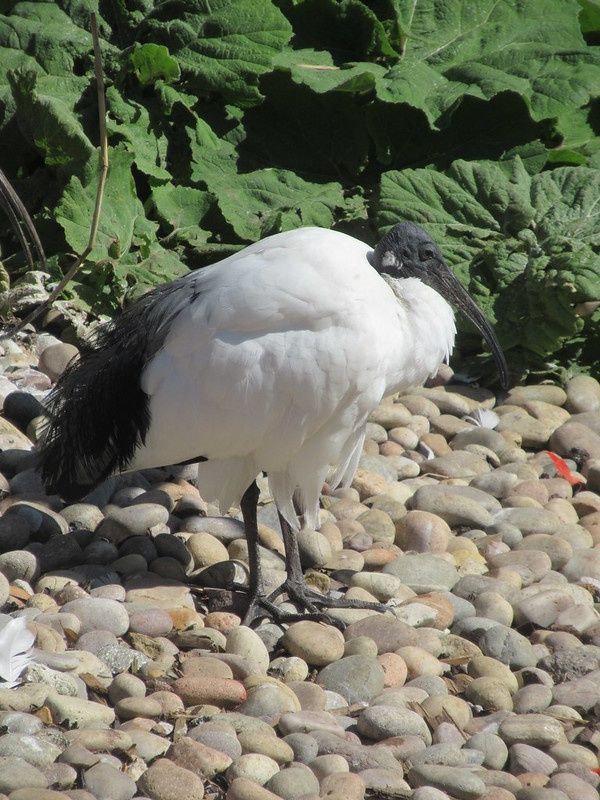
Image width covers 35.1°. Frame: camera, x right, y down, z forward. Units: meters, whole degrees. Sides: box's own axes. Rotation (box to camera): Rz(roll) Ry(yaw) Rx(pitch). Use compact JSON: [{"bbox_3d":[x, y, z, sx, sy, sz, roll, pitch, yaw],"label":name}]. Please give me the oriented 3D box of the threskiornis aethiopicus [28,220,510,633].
[{"bbox_3d":[0.050,0.019,3.444,2.089,1.222,0.932,-4,15,17],"label":"threskiornis aethiopicus"}]
